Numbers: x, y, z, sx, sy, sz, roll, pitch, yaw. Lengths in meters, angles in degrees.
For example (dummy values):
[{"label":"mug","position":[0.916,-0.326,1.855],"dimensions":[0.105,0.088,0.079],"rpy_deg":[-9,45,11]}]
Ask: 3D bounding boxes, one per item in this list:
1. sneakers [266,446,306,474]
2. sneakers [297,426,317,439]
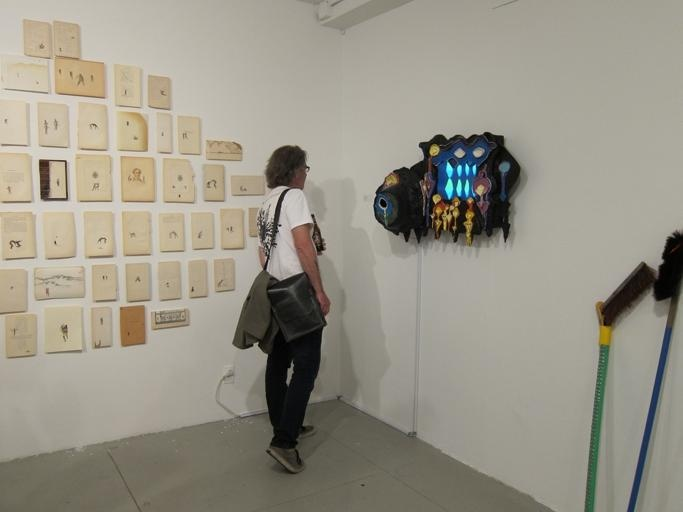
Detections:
[{"label":"sneakers","position":[-0.339,1.206,3.580],"dimensions":[0.213,0.174,0.207],"rpy_deg":[-1,11,-6]},{"label":"sneakers","position":[-0.235,1.196,4.006],"dimensions":[0.081,0.060,0.145],"rpy_deg":[1,3,40]}]
